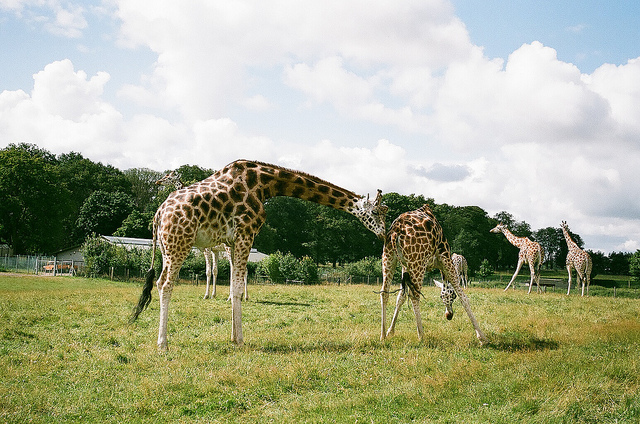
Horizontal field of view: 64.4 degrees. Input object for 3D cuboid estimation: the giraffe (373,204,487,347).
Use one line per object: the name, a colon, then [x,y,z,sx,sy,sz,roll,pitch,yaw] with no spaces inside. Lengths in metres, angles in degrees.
giraffe: [4.105,2.312,18.832,3.108,5.219,6.661,-5,-13,32]
